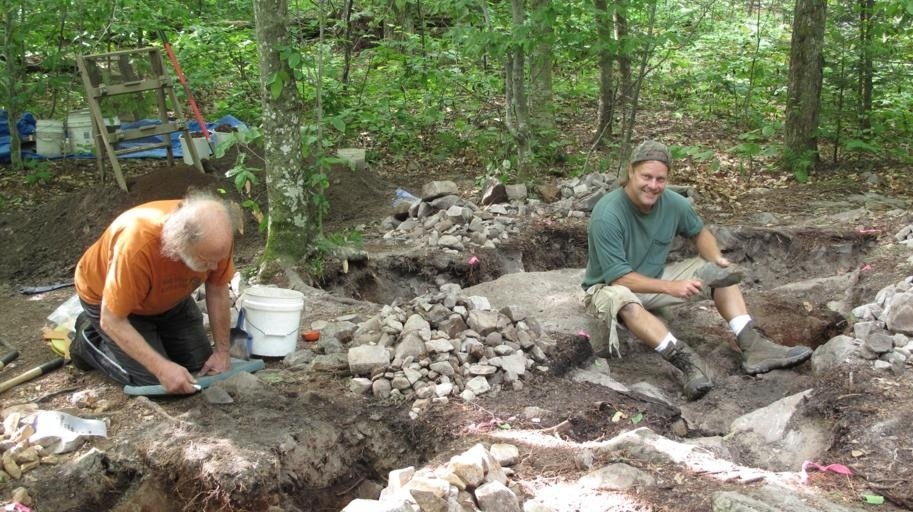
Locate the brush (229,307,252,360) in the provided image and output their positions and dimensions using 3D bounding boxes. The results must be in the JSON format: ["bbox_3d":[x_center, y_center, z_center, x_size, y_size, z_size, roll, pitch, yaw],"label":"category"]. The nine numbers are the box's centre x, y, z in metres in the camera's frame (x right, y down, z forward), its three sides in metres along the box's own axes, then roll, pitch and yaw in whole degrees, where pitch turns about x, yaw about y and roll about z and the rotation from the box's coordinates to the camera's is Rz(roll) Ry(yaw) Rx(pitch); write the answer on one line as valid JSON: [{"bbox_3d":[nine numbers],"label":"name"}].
[{"bbox_3d":[-2.453,0.898,9.032,0.357,0.491,0.145,2,-3,4],"label":"brush"}]

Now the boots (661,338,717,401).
[{"bbox_3d":[2.619,1.224,9.070,0.523,0.350,1.062,32,24,-5],"label":"boots"}]

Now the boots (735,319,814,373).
[{"bbox_3d":[3.689,1.022,9.214,0.983,0.638,0.452,-15,-2,11],"label":"boots"}]

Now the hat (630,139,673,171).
[{"bbox_3d":[2.210,-1.147,9.032,0.438,0.289,0.261,1,18,11],"label":"hat"}]

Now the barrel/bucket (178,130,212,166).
[{"bbox_3d":[-4.070,-1.672,12.322,0.517,0.373,0.544,-2,16,1],"label":"barrel/bucket"}]

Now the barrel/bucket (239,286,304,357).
[{"bbox_3d":[-2.236,0.813,9.245,0.891,0.674,0.828,-2,1,0],"label":"barrel/bucket"}]

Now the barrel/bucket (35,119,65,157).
[{"bbox_3d":[-6.784,-1.957,13.185,0.593,0.650,0.485,-7,13,-45],"label":"barrel/bucket"}]
